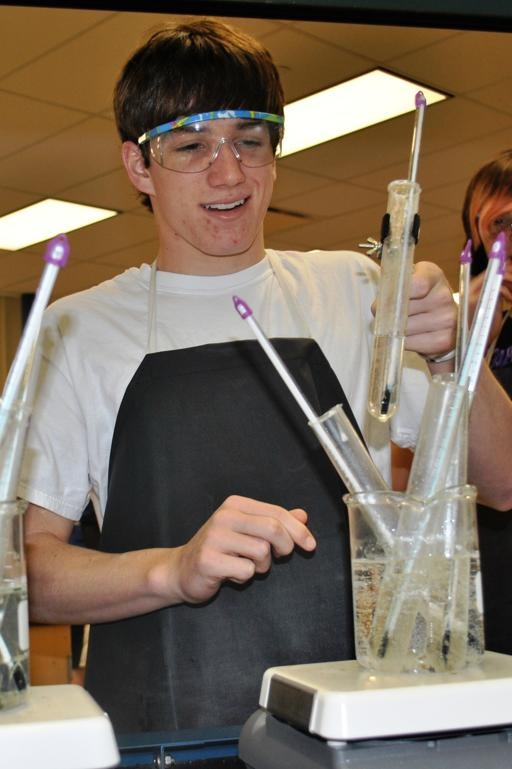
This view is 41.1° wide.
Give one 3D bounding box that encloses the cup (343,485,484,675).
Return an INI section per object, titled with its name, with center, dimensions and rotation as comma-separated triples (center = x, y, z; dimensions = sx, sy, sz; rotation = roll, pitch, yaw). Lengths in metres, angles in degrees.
[cup]
center = 0.127, 0.160, 0.550
dimensions = 0.111, 0.159, 0.068
rotation = 1, 8, 8
